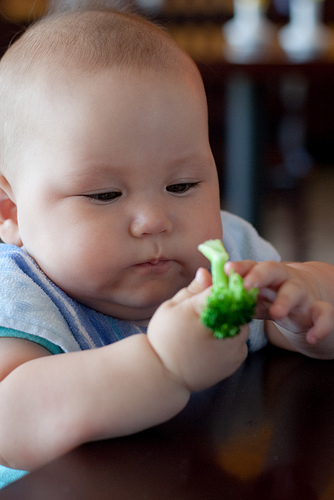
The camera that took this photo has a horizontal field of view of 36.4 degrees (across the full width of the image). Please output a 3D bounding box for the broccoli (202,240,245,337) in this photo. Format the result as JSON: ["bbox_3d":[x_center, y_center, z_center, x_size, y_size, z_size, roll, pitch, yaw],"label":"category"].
[{"bbox_3d":[0.048,0.035,0.481,0.040,0.043,0.078,-19,54,5],"label":"broccoli"}]

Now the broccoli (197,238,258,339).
[{"bbox_3d":[0.042,0.034,0.466,0.057,0.041,0.083,-10,56,-10],"label":"broccoli"}]
